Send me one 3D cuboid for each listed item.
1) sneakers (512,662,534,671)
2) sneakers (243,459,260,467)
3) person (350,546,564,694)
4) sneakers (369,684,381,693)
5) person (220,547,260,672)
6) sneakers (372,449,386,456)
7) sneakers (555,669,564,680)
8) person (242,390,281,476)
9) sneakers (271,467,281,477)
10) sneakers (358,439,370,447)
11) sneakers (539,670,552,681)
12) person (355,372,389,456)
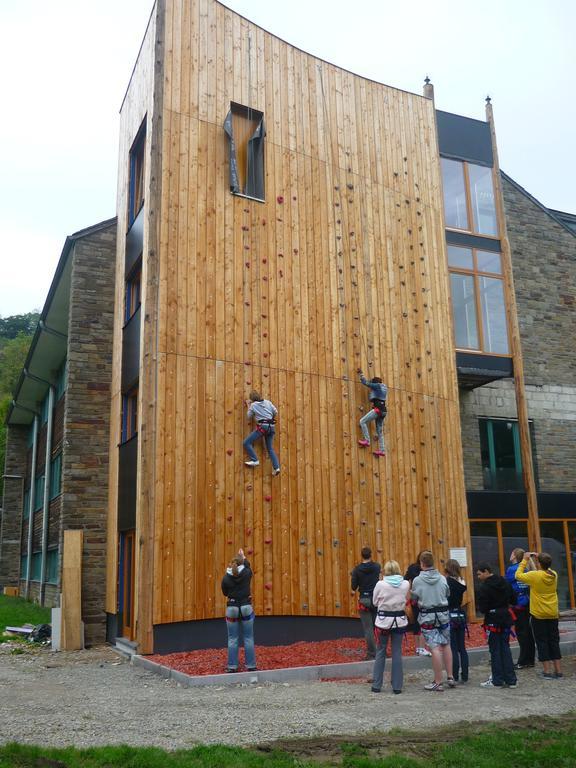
[{"bbox_3d":[3.000,3.597,8.414,0.247,0.117,0.095,6,-18,-12],"label":"sneakers"},{"bbox_3d":[-0.570,1.245,10.347,0.245,0.127,0.088,0,-7,11],"label":"sneakers"},{"bbox_3d":[1.639,2.578,7.206,1.625,1.451,0.566,0,-14,-15],"label":"person"},{"bbox_3d":[0.904,3.157,6.839,0.046,0.065,0.145,2,-6,-7],"label":"sneakers"},{"bbox_3d":[-0.586,2.700,7.878,0.366,1.363,0.450,-2,-13,-5],"label":"person"},{"bbox_3d":[1.644,1.244,12.016,0.247,0.189,0.091,5,-9,3],"label":"sneakers"},{"bbox_3d":[3.139,3.355,7.643,0.048,0.064,0.143,-1,-7,1],"label":"sneakers"},{"bbox_3d":[-0.422,0.784,10.552,0.628,1.327,0.444,0,-14,-15],"label":"person"},{"bbox_3d":[-0.187,1.409,10.551,0.073,0.089,0.185,-7,-25,-29],"label":"sneakers"},{"bbox_3d":[1.372,1.056,11.841,0.240,0.119,0.133,6,-16,-37],"label":"sneakers"},{"bbox_3d":[2.992,3.391,7.682,0.058,0.069,0.153,1,-8,-7],"label":"sneakers"},{"bbox_3d":[1.575,0.539,12.071,0.485,1.519,0.836,-10,-15,27],"label":"person"}]
